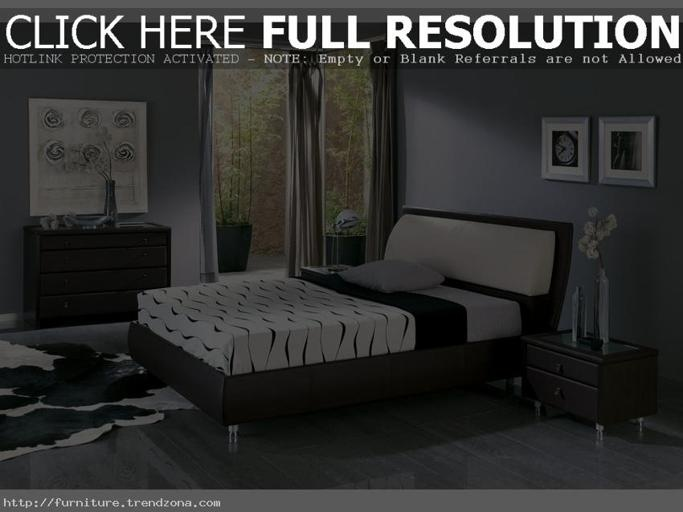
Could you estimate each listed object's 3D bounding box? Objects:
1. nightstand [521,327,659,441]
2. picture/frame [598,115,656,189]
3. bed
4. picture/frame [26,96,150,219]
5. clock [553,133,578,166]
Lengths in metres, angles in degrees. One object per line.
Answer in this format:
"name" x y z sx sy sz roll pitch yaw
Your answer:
"nightstand" 1.613 0.725 3.676 0.576 0.545 0.711 -1 3 -24
"picture/frame" 2.213 -0.810 4.372 0.052 0.757 0.558 -3 5 -34
"bed" 0.108 0.464 4.097 2.256 1.120 1.946 -2 5 -31
"picture/frame" -2.728 -1.063 6.000 1.341 1.436 0.068 -1 1 -30
"clock" 1.906 -0.908 4.823 0.024 0.296 0.240 -4 10 -29
